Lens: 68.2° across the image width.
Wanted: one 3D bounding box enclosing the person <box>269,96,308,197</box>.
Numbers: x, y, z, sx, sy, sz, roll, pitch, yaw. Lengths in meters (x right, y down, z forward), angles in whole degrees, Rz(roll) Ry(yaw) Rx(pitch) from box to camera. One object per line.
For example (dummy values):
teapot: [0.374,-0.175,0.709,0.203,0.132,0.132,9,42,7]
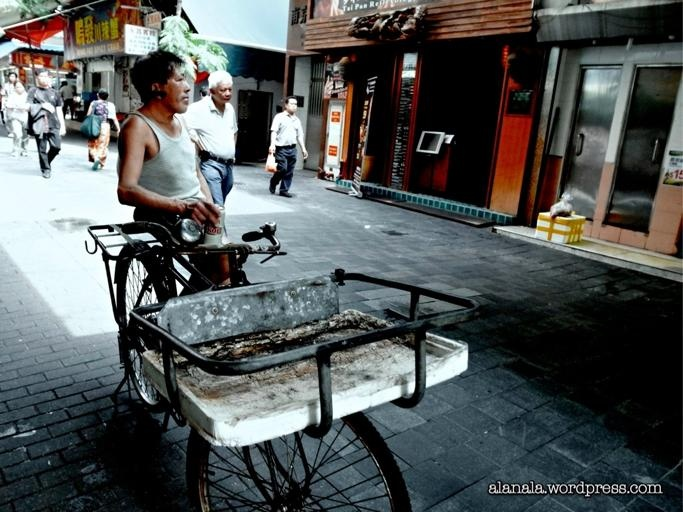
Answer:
person: [-1.286,-2.649,12.031,0.765,2.332,1.438,4,17,0]
